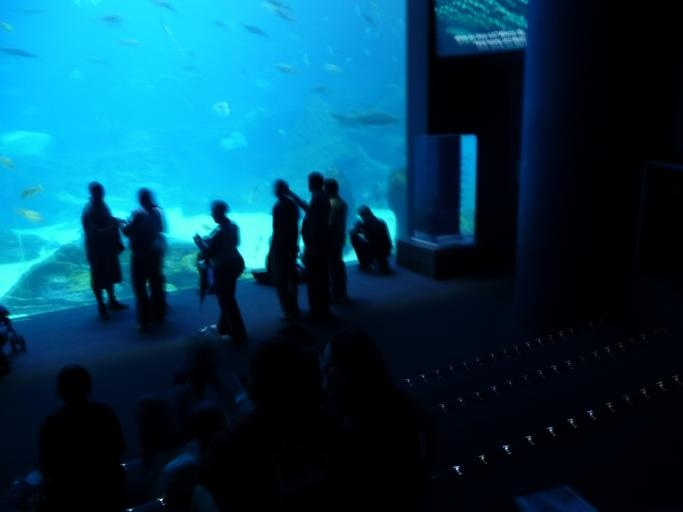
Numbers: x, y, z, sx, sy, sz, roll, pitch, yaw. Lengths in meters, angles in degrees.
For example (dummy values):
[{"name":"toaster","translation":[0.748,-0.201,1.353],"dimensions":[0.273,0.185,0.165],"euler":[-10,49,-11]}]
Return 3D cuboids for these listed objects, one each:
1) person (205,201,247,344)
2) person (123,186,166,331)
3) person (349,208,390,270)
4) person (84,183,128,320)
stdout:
[{"name":"person","translation":[-1.481,0.222,6.502],"dimensions":[0.483,1.857,0.358],"euler":[-6,11,-2]},{"name":"person","translation":[-2.718,0.054,7.098],"dimensions":[0.580,1.959,0.468],"euler":[-14,14,-38]},{"name":"person","translation":[0.561,-0.317,9.643],"dimensions":[0.770,1.278,0.526],"euler":[-3,11,12]},{"name":"person","translation":[-3.400,-0.056,7.313],"dimensions":[0.520,1.996,0.875],"euler":[-11,13,-27]}]
